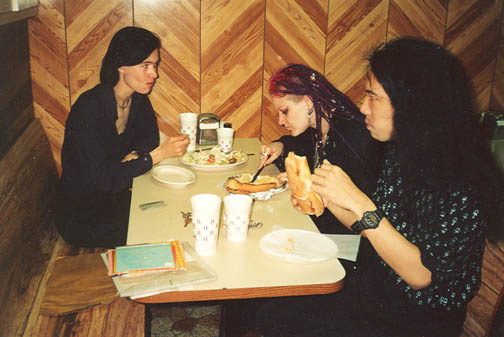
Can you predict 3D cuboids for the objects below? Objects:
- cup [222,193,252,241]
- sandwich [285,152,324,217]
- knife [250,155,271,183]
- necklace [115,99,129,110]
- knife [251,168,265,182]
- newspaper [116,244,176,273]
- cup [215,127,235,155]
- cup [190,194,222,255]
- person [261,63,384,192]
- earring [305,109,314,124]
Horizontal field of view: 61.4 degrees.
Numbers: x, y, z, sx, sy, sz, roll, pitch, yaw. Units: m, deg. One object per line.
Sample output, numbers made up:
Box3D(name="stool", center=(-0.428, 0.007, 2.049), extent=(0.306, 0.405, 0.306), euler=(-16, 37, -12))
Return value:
Box3D(name="cup", center=(-0.074, 0.251, 2.234), extent=(0.212, 0.268, 0.197), euler=(0, 6, 0))
Box3D(name="sandwich", center=(0.277, 0.090, 2.399), extent=(0.169, 0.372, 0.110), euler=(-17, 0, -32))
Box3D(name="knife", center=(0.061, 0.007, 2.747), extent=(0.029, 0.245, 0.032), euler=(42, -22, -18))
Box3D(name="necklace", center=(-1.038, -0.518, 3.379), extent=(0.090, 0.087, 0.021), euler=(-1, -23, -12))
Box3D(name="knife", center=(0.033, 0.037, 2.722), extent=(0.030, 0.135, 0.013), euler=(39, -1, 23))
Box3D(name="newspaper", center=(-0.510, 0.426, 2.043), extent=(0.286, 0.077, 0.151), euler=(1, 13, -10))
Box3D(name="cup", center=(-0.194, -0.215, 3.291), extent=(0.186, 0.204, 0.183), euler=(0, 10, 0))
Box3D(name="cup", center=(-0.235, 0.281, 2.139), extent=(0.145, 0.277, 0.138), euler=(3, 13, -1))
Box3D(name="person", center=(0.484, -0.283, 2.888), extent=(0.337, 0.700, 0.936), euler=(8, 39, -33))
Box3D(name="earring", center=(0.400, -0.364, 2.927), extent=(0.034, 0.095, 0.054), euler=(14, 16, 39))
